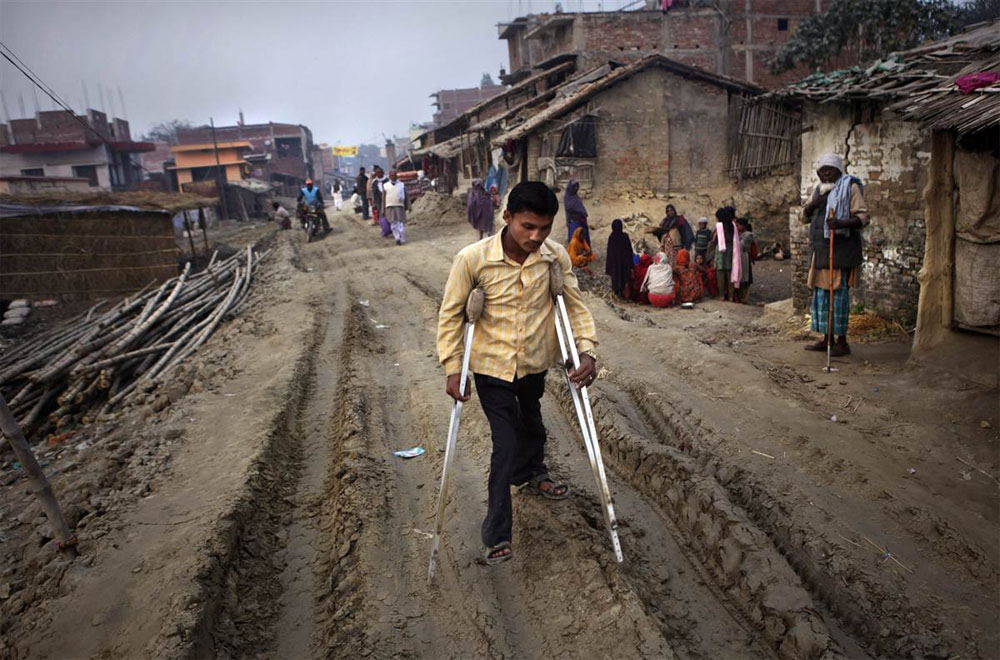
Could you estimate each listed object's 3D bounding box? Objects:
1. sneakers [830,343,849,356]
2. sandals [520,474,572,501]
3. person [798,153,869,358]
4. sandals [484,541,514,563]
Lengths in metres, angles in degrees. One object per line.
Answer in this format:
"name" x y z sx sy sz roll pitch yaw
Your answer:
"sneakers" 4.778 0.289 7.602 0.108 0.136 0.265 13 -11 -42
"sandals" 0.431 1.471 5.167 0.504 0.145 0.208 5 27 25
"person" 4.543 -0.973 7.399 0.723 2.727 0.687 5 14 28
"sandals" 0.009 1.836 4.557 0.257 0.191 0.138 -4 -8 21
